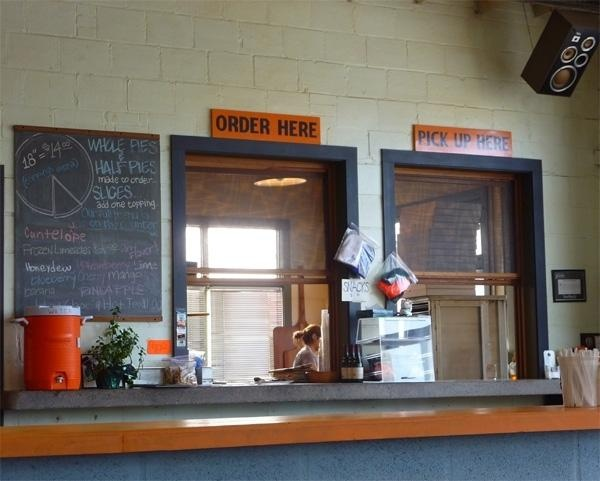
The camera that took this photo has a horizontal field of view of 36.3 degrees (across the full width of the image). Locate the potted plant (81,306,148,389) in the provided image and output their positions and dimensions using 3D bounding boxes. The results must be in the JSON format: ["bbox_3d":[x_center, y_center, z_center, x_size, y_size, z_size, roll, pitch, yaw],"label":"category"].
[{"bbox_3d":[-1.187,0.699,5.823,0.246,0.414,0.299,4,-10,45],"label":"potted plant"}]

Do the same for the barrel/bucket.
[{"bbox_3d":[-1.540,0.671,5.710,0.492,0.524,0.322,2,-5,-44],"label":"barrel/bucket"}]

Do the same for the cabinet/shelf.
[{"bbox_3d":[0.780,0.721,6.387,0.478,0.467,0.291,-6,7,32],"label":"cabinet/shelf"}]

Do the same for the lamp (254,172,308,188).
[{"bbox_3d":[-0.154,-0.445,6.645,0.323,0.116,0.055,-5,1,-18],"label":"lamp"}]

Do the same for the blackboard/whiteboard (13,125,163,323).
[{"bbox_3d":[-1.408,-0.089,6.115,0.967,1.417,0.071,0,24,-13],"label":"blackboard/whiteboard"}]

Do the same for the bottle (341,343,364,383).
[{"bbox_3d":[0.364,0.825,6.205,0.158,0.246,0.163,0,-6,0],"label":"bottle"}]
